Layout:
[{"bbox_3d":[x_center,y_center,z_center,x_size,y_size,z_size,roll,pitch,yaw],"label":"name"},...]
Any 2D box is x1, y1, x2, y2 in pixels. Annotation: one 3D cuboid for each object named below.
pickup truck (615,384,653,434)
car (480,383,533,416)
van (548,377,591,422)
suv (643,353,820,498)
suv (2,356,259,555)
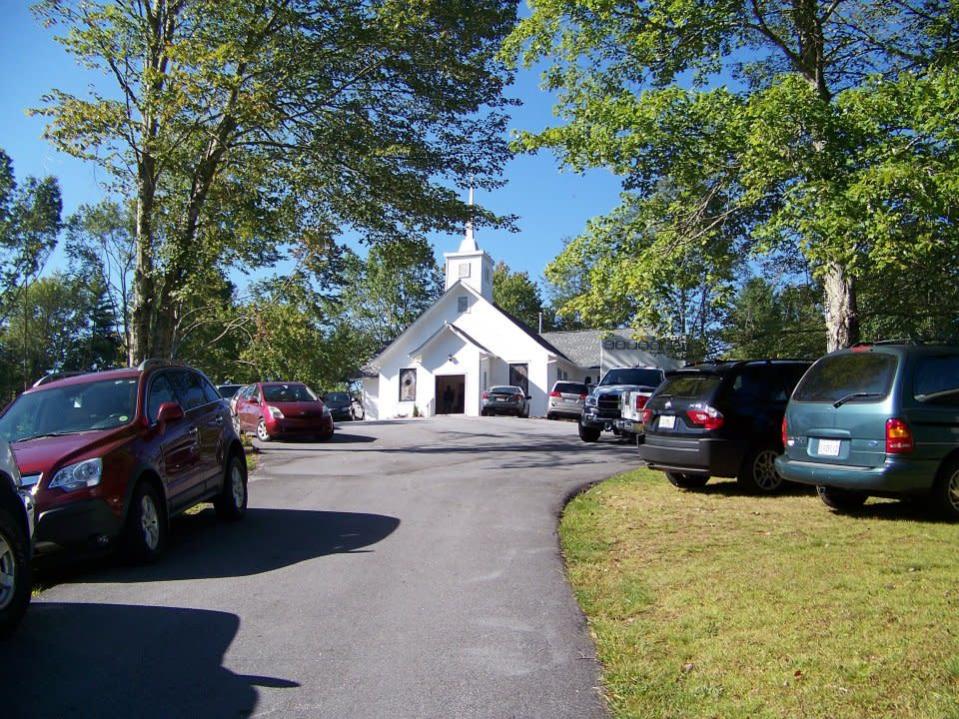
[{"bbox_3d":[3.622,1.314,17.765,0.961,0.923,1.676,1,3,14],"label":"pickup truck"},{"bbox_3d":[1.349,2.214,38.994,2.006,1.534,1.494,-2,2,-13],"label":"car"},{"bbox_3d":[3.731,1.727,31.762,1.800,1.661,3.371,1,1,9],"label":"van"},{"bbox_3d":[4.241,0.920,12.272,3.036,1.394,1.484,-3,-1,-27],"label":"suv"},{"bbox_3d":[-4.164,1.143,8.930,1.442,1.299,2.719,-6,-12,7],"label":"suv"}]
